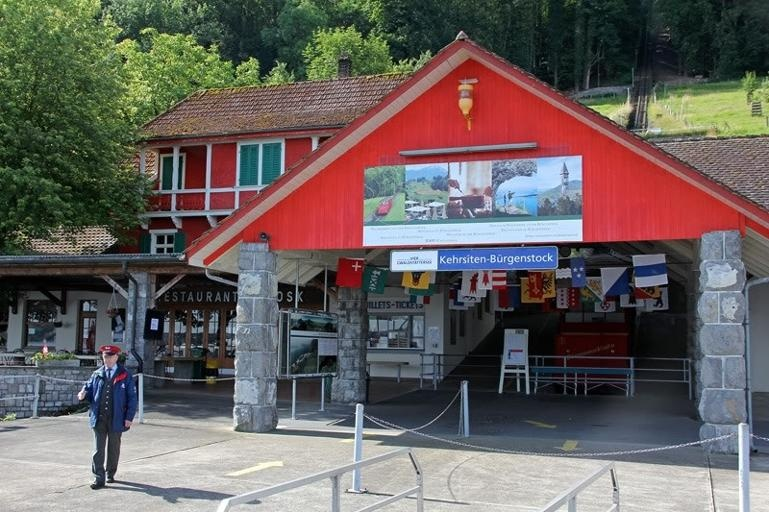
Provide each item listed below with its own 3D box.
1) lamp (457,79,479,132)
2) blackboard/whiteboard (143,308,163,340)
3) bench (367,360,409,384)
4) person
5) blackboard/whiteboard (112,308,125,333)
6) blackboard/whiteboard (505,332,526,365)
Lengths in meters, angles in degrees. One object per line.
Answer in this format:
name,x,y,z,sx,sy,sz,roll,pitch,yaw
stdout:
lamp,2.259,-4.086,22.601,0.501,1.369,0.275,-1,-5,7
blackboard/whiteboard,-8.452,2.476,30.813,0.708,1.078,0.349,1,-6,-20
bench,0.206,4.981,35.973,1.765,0.744,0.515,-3,-15,12
person,-6.169,3.557,18.808,1.124,3.069,0.725,1,-6,-19
blackboard/whiteboard,-11.964,2.909,37.915,0.513,1.051,0.703,2,-5,-21
blackboard/whiteboard,4.978,3.466,31.948,0.840,1.306,0.658,-1,-5,7
